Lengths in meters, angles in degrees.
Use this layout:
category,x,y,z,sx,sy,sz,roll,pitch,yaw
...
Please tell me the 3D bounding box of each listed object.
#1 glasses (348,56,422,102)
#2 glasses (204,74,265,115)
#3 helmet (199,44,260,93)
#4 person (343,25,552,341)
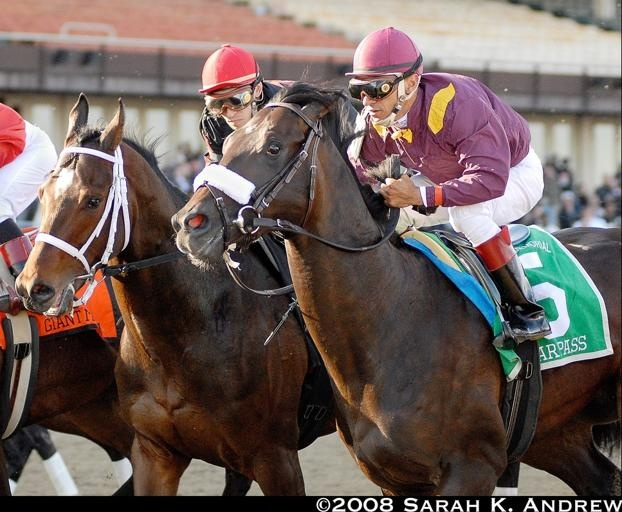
category,x,y,z,sx,sy,sz,roll,pitch,yaw
glasses,0.355,-0.840,6.290,0.270,0.060,0.193,-27,10,-26
glasses,-0.406,-0.884,7.021,0.206,0.093,0.269,-16,5,34
helmet,-0.436,-1.006,7.061,0.239,0.174,0.310,-8,11,35
person,0.699,-0.360,6.514,0.999,1.547,0.599,0,4,5
